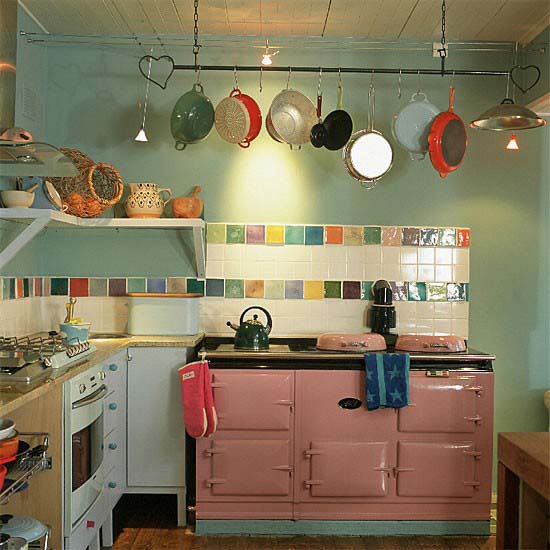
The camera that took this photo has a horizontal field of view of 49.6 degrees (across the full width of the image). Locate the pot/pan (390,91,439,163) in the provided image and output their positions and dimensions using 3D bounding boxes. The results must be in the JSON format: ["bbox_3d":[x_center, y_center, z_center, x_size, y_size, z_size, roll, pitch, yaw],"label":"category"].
[{"bbox_3d":[0.707,-0.778,3.163,0.361,0.435,0.065,-1,11,-7],"label":"pot/pan"}]

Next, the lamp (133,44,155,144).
[{"bbox_3d":[-0.751,-1.039,3.382,0.127,0.581,0.392,-1,0,-12],"label":"lamp"}]

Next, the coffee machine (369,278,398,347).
[{"bbox_3d":[0.613,0.214,3.394,0.155,0.375,0.312,-1,0,7],"label":"coffee machine"}]

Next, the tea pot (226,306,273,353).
[{"bbox_3d":[-0.176,0.299,3.208,0.289,0.223,0.179,3,-9,-9],"label":"tea pot"}]

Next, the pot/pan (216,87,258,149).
[{"bbox_3d":[-0.198,-0.861,3.228,0.220,0.322,0.314,-1,0,8],"label":"pot/pan"}]

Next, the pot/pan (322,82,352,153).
[{"bbox_3d":[0.324,-0.819,3.145,0.211,0.304,0.052,-1,-1,37],"label":"pot/pan"}]

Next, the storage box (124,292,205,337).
[{"bbox_3d":[-0.625,0.219,3.386,0.357,0.166,0.257,1,-1,-1],"label":"storage box"}]

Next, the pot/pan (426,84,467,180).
[{"bbox_3d":[0.839,-0.714,2.967,0.185,0.443,0.180,-1,0,31],"label":"pot/pan"}]

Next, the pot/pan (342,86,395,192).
[{"bbox_3d":[0.483,-0.682,3.132,0.207,0.473,0.194,-1,0,-40],"label":"pot/pan"}]

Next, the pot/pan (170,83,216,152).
[{"bbox_3d":[-0.435,-0.851,3.148,0.211,0.331,0.130,-1,0,19],"label":"pot/pan"}]

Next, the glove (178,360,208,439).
[{"bbox_3d":[-0.378,0.614,2.871,0.117,0.375,0.116,-1,0,38],"label":"glove"}]
